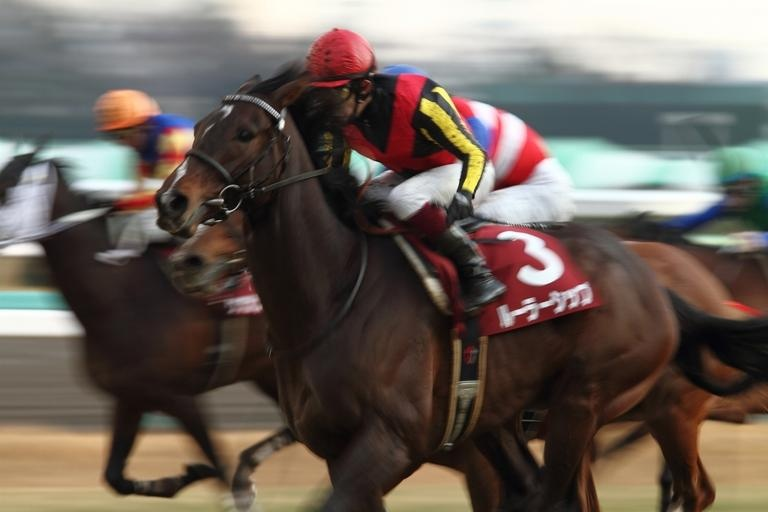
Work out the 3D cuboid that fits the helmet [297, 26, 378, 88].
[{"bbox_3d":[-0.238,-0.932,5.014,0.313,0.209,0.384,23,40,23],"label":"helmet"}]
